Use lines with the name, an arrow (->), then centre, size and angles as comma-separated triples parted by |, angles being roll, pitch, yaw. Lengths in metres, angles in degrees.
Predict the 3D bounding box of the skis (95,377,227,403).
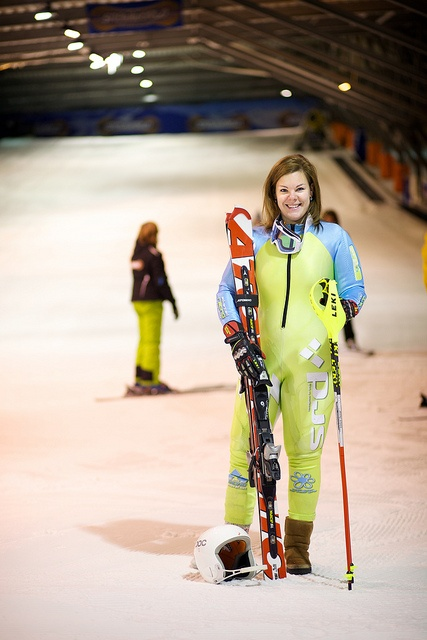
skis -> -0.368, 0.502, 4.835 | 1.163, 0.101, 0.076 | -4, 6, 9

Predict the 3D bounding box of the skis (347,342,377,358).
skis -> 1.228, 0.254, 5.735 | 0.262, 0.095, 0.088 | 16, 20, 38

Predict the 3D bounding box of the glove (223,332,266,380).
glove -> 0.109, 0.121, 2.249 | 0.105, 0.146, 0.043 | -23, -25, 6

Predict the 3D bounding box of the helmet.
helmet -> 0.033, 0.768, 2.253 | 0.182, 0.142, 0.228 | 13, -13, -39

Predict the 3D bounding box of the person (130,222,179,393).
person -> -0.479, -0.104, 4.986 | 0.403, 1.246, 0.542 | -4, 6, -3

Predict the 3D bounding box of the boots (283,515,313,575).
boots -> 0.283, 0.768, 2.310 | 0.102, 0.164, 0.188 | 1, 0, 6

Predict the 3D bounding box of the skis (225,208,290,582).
skis -> 0.150, 0.246, 2.294 | 0.143, 1.308, 0.293 | -7, -2, -8

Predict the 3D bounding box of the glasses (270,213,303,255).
glasses -> 0.249, -0.291, 2.309 | 0.095, 0.115, 0.060 | 26, 30, 23

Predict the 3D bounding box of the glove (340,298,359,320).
glove -> 0.450, -0.039, 2.256 | 0.039, 0.093, 0.049 | 0, 15, 24
